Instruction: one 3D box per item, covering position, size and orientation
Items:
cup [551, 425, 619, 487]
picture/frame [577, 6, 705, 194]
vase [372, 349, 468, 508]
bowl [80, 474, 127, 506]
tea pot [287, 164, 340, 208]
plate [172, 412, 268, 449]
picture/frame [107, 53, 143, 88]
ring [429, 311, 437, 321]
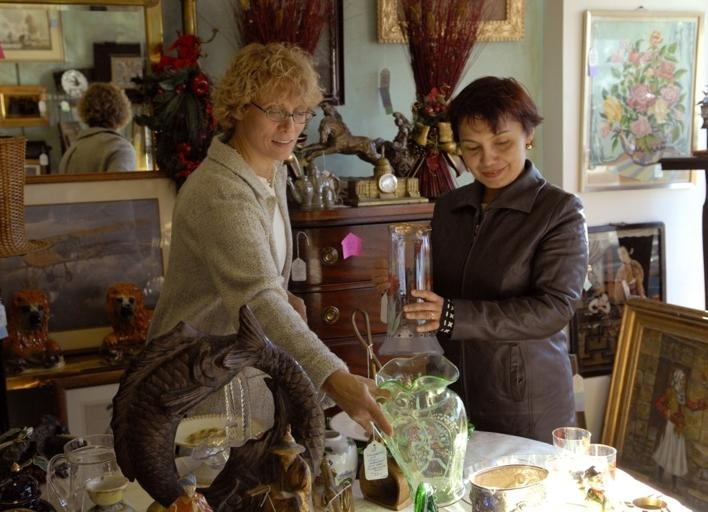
[{"bbox_3d":[0.541,0.479,1.344,0.094,0.112,0.150,-1,-3,-38],"label":"cup"},{"bbox_3d":[1.857,-1.002,3.567,0.885,1.122,0.062,-3,10,-13],"label":"picture/frame"},{"bbox_3d":[0.172,0.441,1.432,0.238,0.346,0.226,1,10,10],"label":"vase"},{"bbox_3d":[-0.554,0.514,1.221,0.081,0.050,0.083,-3,-1,0],"label":"bowl"},{"bbox_3d":[-0.167,-0.361,2.942,0.308,0.234,0.188,-2,-9,-27],"label":"tea pot"},{"bbox_3d":[-0.355,0.451,1.428,0.202,0.037,0.204,-4,11,-24],"label":"plate"},{"bbox_3d":[-1.205,-0.969,2.874,0.172,0.180,0.023,-5,6,-16],"label":"picture/frame"},{"bbox_3d":[0.257,0.199,1.814,0.025,0.026,0.016,-3,-12,23],"label":"ring"}]
